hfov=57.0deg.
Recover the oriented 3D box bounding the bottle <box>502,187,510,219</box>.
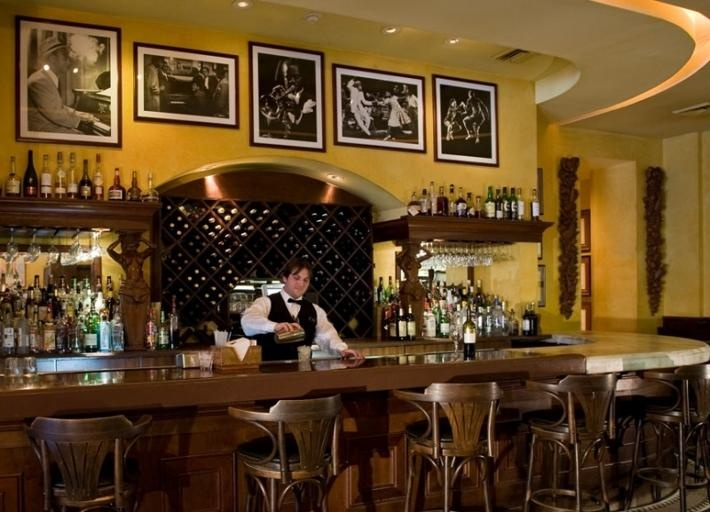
[{"bbox_3d":[1.765,-0.619,7.605,0.088,0.380,0.188,0,-2,11],"label":"bottle"}]

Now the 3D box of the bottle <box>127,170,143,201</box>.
[{"bbox_3d":[-2.067,-0.659,6.096,0.123,0.287,0.139,2,-2,-22],"label":"bottle"}]

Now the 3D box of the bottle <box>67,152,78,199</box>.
[{"bbox_3d":[-2.573,-0.741,5.927,0.092,0.425,0.128,2,-2,-24],"label":"bottle"}]

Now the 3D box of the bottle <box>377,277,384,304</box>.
[{"bbox_3d":[0.294,0.391,7.632,0.074,0.276,0.139,1,-2,1],"label":"bottle"}]

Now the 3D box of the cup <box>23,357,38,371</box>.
[{"bbox_3d":[-2.284,0.763,4.581,0.071,0.105,0.140,2,-3,-21],"label":"cup"}]

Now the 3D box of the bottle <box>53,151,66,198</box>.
[{"bbox_3d":[-2.672,-0.743,5.896,0.101,0.431,0.120,2,-2,-24],"label":"bottle"}]

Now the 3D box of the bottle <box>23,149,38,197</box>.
[{"bbox_3d":[-2.878,-0.736,5.790,0.125,0.432,0.157,2,-2,-28],"label":"bottle"}]

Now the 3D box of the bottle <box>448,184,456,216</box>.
[{"bbox_3d":[1.102,-0.639,7.412,0.079,0.362,0.153,0,-2,8],"label":"bottle"}]

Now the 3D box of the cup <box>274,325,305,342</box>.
[{"bbox_3d":[-0.490,0.606,4.934,0.221,0.134,0.137,2,-33,-28],"label":"cup"}]

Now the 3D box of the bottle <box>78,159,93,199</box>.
[{"bbox_3d":[-2.461,-0.702,5.949,0.123,0.379,0.187,2,-2,-26],"label":"bottle"}]

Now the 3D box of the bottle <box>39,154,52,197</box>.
[{"bbox_3d":[-2.761,-0.723,5.822,0.104,0.415,0.194,2,-2,-23],"label":"bottle"}]

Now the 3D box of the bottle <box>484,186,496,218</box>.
[{"bbox_3d":[1.562,-0.619,7.530,0.128,0.394,0.332,0,-2,11],"label":"bottle"}]

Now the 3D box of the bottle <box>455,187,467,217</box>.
[{"bbox_3d":[1.203,-0.614,7.400,0.125,0.358,0.243,0,-2,9],"label":"bottle"}]

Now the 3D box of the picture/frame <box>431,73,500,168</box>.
[{"bbox_3d":[1.227,-1.567,7.494,1.154,1.249,0.052,-2,2,-23],"label":"picture/frame"}]

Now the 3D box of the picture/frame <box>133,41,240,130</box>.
[{"bbox_3d":[-1.691,-1.654,6.314,0.969,0.659,0.038,1,-5,-21],"label":"picture/frame"}]

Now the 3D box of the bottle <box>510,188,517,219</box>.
[{"bbox_3d":[1.857,-0.610,7.617,0.089,0.362,0.156,0,-2,10],"label":"bottle"}]

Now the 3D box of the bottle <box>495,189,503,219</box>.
[{"bbox_3d":[1.676,-0.618,7.550,0.081,0.383,0.271,0,-2,11],"label":"bottle"}]

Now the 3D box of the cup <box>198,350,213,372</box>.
[{"bbox_3d":[-1.100,0.771,4.795,0.106,0.137,0.095,1,-2,-1],"label":"cup"}]

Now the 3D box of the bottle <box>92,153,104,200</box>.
[{"bbox_3d":[-2.360,-0.735,5.988,0.088,0.441,0.141,2,-2,-22],"label":"bottle"}]

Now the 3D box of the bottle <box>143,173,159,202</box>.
[{"bbox_3d":[-1.911,-0.639,6.101,0.125,0.302,0.275,1,-3,-19],"label":"bottle"}]

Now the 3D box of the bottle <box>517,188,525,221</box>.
[{"bbox_3d":[1.957,-0.619,7.690,0.089,0.403,0.320,0,-2,15],"label":"bottle"}]

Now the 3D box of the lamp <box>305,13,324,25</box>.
[{"bbox_3d":[-0.406,-2.294,6.311,0.159,0.067,0.264,1,-3,-1],"label":"lamp"}]

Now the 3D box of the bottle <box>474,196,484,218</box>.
[{"bbox_3d":[1.425,-0.570,7.487,0.112,0.278,0.263,0,-2,10],"label":"bottle"}]

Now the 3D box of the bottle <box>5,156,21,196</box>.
[{"bbox_3d":[-3.014,-0.707,5.728,0.130,0.376,0.171,2,-2,-27],"label":"bottle"}]

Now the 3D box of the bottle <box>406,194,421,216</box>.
[{"bbox_3d":[0.648,-0.580,7.140,0.159,0.276,0.250,1,-2,2],"label":"bottle"}]

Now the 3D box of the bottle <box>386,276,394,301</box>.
[{"bbox_3d":[0.409,0.378,7.643,0.091,0.286,0.183,1,-2,2],"label":"bottle"}]

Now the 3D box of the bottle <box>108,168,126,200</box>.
[{"bbox_3d":[-2.202,-0.665,6.019,0.152,0.321,0.200,2,-2,-21],"label":"bottle"}]

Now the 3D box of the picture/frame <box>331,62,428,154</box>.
[{"bbox_3d":[0.214,-1.606,7.069,1.124,0.773,0.024,2,-7,-24],"label":"picture/frame"}]

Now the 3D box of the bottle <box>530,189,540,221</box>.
[{"bbox_3d":[2.136,-0.611,7.760,0.079,0.386,0.302,0,-2,13],"label":"bottle"}]

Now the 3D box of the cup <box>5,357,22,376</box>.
[{"bbox_3d":[-2.351,0.762,4.482,0.118,0.124,0.121,0,-5,0],"label":"cup"}]
